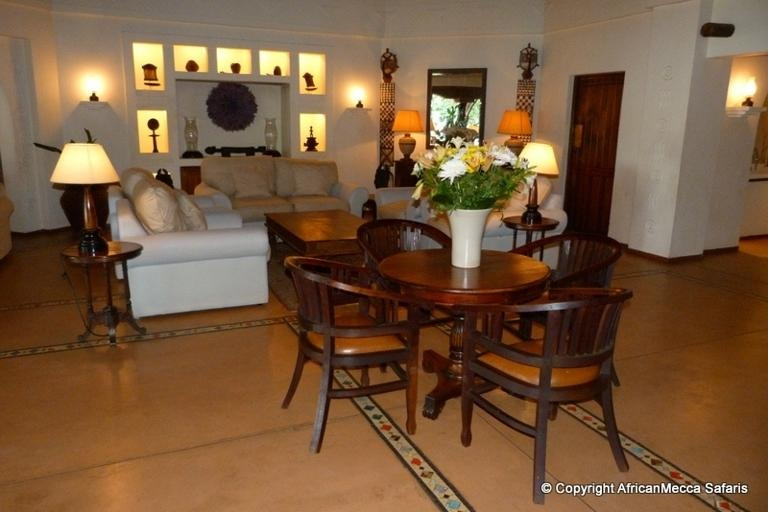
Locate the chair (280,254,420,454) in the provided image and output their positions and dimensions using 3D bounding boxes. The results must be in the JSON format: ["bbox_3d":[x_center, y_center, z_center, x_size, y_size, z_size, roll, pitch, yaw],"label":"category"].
[{"bbox_3d":[-0.223,0.742,4.019,0.875,1.207,1.054,-7,18,-22],"label":"chair"}]

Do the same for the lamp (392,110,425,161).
[{"bbox_3d":[0.420,-2.163,9.885,0.601,0.737,0.561,4,9,4],"label":"lamp"}]

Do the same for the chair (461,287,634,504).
[{"bbox_3d":[1.052,0.949,3.679,1.128,1.358,0.991,-6,15,-27],"label":"chair"}]

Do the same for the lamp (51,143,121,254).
[{"bbox_3d":[-2.655,-0.546,5.025,0.507,0.943,1.000,-11,19,-26],"label":"lamp"}]

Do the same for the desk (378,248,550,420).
[{"bbox_3d":[0.518,0.445,4.288,1.315,0.991,1.259,-2,21,-12],"label":"desk"}]

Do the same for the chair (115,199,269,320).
[{"bbox_3d":[-1.942,0.015,5.676,1.293,0.822,1.258,-5,19,-25],"label":"chair"}]

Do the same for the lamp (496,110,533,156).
[{"bbox_3d":[2.168,-2.020,9.266,0.617,0.711,0.634,14,18,43],"label":"lamp"}]

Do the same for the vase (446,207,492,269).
[{"bbox_3d":[0.580,-0.142,4.053,0.413,0.430,0.390,0,14,-4],"label":"vase"}]

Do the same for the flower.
[{"bbox_3d":[0.615,-0.585,3.995,0.684,0.432,0.666,4,17,24],"label":"flower"}]

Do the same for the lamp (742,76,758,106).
[{"bbox_3d":[4.963,-2.231,7.586,0.150,0.387,0.637,9,19,31],"label":"lamp"}]

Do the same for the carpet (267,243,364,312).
[{"bbox_3d":[-0.951,0.241,6.570,0.806,0.267,1.195,-2,15,-22],"label":"carpet"}]

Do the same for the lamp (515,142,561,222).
[{"bbox_3d":[1.608,-0.771,5.976,0.535,0.810,0.515,4,1,24],"label":"lamp"}]

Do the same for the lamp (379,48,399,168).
[{"bbox_3d":[0.070,-2.708,10.124,0.366,2.040,0.429,1,18,11],"label":"lamp"}]

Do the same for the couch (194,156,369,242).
[{"bbox_3d":[-1.534,-0.892,8.282,2.346,1.049,1.024,-6,22,-26],"label":"couch"}]

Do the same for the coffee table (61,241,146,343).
[{"bbox_3d":[-2.610,0.354,5.229,0.770,0.865,0.714,2,26,-12],"label":"coffee table"}]

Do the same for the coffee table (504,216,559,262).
[{"bbox_3d":[1.551,-0.208,6.076,0.395,0.370,0.359,12,15,-24],"label":"coffee table"}]

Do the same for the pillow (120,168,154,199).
[{"bbox_3d":[-2.644,-0.773,5.962,0.223,0.199,0.629,-12,9,-25],"label":"pillow"}]
